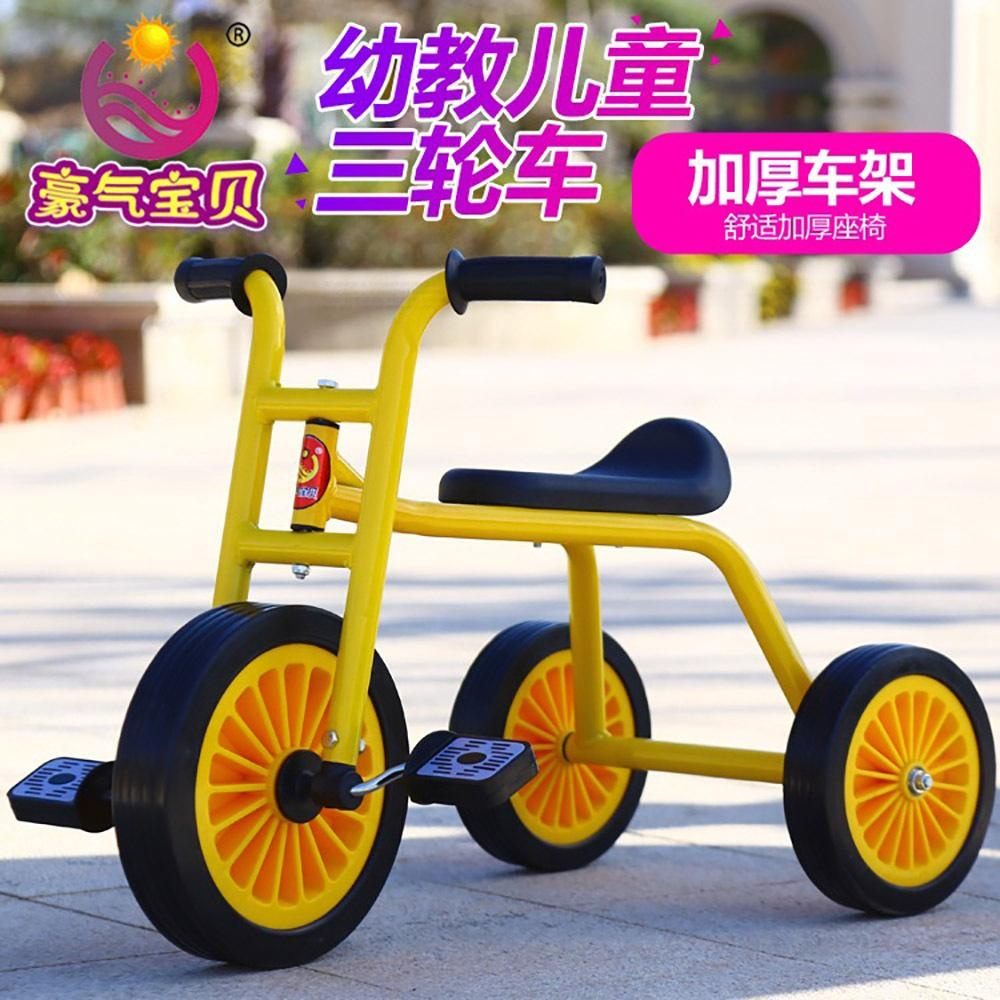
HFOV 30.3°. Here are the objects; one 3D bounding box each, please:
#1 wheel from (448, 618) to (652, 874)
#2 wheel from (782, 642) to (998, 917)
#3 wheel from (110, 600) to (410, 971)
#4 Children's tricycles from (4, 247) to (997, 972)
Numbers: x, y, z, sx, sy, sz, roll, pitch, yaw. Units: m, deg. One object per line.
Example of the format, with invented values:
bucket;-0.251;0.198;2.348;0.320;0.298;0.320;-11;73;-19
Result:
wheel;0.102;0.498;3.632;0.433;0.399;0.111;14;-7;-43
wheel;0.697;0.512;3.315;0.433;0.428;0.145;-8;5;-39
wheel;-0.365;0.448;2.993;0.154;0.587;0.597;-2;-3;36
Children's tricycles;-0.022;0.226;3.435;1.677;1.165;1.141;3;-4;-42
